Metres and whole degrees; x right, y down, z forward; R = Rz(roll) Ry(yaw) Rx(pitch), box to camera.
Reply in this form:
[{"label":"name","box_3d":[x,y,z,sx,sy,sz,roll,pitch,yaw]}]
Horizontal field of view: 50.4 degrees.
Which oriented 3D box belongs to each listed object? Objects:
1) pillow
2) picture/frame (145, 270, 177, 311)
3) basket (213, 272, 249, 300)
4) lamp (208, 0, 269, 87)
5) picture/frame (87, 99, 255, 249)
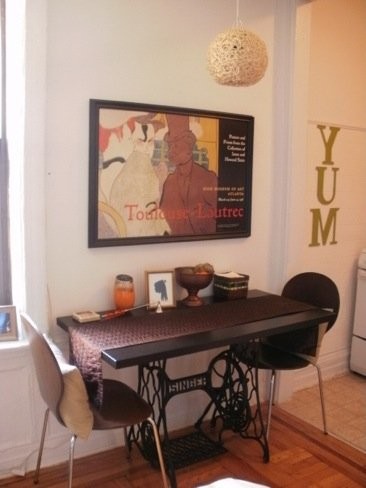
[{"label":"pillow","box_3d":[-0.363,0.527,1.333,0.146,0.260,0.106,-1,5,-41]},{"label":"picture/frame","box_3d":[-0.116,0.238,1.977,0.176,0.234,0.023,3,-10,-34]},{"label":"basket","box_3d":[0.277,0.221,2.248,0.156,0.148,0.158,-1,3,-33]},{"label":"lamp","box_3d":[0.178,-0.724,1.467,0.232,0.348,0.227,-8,17,-22]},{"label":"picture/frame","box_3d":[-0.091,-0.382,2.044,0.797,0.631,0.032,-3,10,-33]}]
